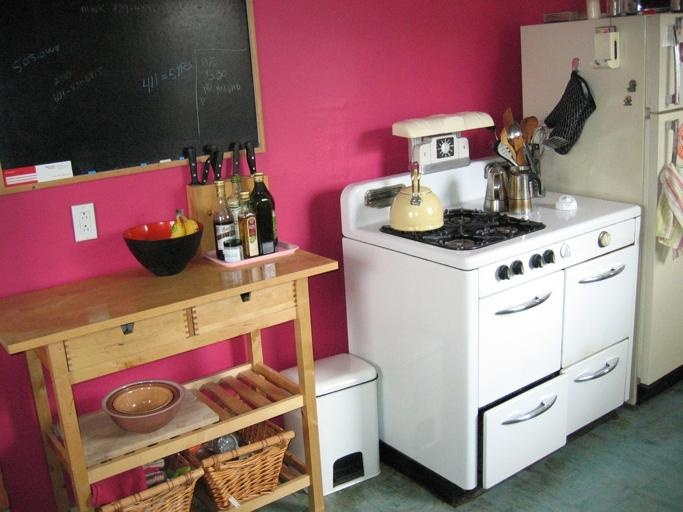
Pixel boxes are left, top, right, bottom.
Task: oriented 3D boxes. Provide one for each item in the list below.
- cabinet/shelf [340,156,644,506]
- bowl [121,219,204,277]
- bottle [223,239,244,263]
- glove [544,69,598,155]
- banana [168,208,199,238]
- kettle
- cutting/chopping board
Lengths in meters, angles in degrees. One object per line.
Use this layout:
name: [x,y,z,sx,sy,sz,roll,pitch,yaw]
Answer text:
cabinet/shelf: [0.824,0.242,3.121,1.891,1.899,1.286,-14,18,-40]
bowl: [-0.658,-0.021,2.078,0.242,0.145,0.243,-3,14,1]
bottle: [-0.414,-0.018,2.182,0.081,0.093,0.083,1,4,28]
glove: [1.171,-0.731,2.798,0.077,0.388,0.249,-8,33,-36]
banana: [-0.604,-0.125,2.124,0.098,0.101,0.046,-21,8,-25]
kettle: [0.326,-0.244,2.379,0.246,0.273,0.278,0,9,5]
cutting/chopping board: [-0.721,0.621,2.076,0.462,0.058,0.326,-15,24,-27]
